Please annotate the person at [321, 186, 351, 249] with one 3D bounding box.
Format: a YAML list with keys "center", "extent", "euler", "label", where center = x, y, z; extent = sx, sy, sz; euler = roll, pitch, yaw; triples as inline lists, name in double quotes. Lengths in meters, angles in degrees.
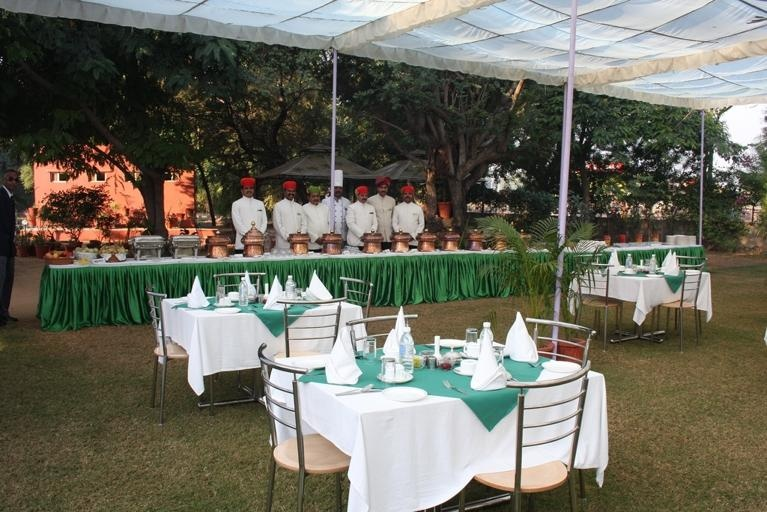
- center: [-0.918, -0.632, 13.787]
  extent: [0.515, 1.807, 0.506]
  euler: [4, -15, -24]
  label: "person"

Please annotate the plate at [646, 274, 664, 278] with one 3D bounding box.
- center: [4.114, 0.303, 9.871]
  extent: [0.250, 0.055, 0.443]
  euler: [-1, 1, 26]
  label: "plate"

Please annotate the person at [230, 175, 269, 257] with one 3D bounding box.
- center: [-2.402, -0.514, 11.964]
  extent: [0.587, 1.840, 0.566]
  euler: [1, -6, -42]
  label: "person"

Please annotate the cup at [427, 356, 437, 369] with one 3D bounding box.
- center: [0.474, 1.019, 6.286]
  extent: [0.078, 0.101, 0.090]
  euler: [-1, 6, -3]
  label: "cup"

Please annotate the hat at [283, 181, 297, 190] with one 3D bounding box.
- center: [-1.741, -1.319, 12.204]
  extent: [0.194, 0.180, 0.353]
  euler: [-1, 1, -2]
  label: "hat"

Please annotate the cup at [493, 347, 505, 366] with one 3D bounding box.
- center: [1.158, 0.985, 6.478]
  extent: [0.098, 0.180, 0.058]
  euler: [2, -5, -20]
  label: "cup"

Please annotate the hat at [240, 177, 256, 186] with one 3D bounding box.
- center: [-2.417, -1.316, 11.688]
  extent: [0.173, 0.161, 0.248]
  euler: [-1, 4, -11]
  label: "hat"

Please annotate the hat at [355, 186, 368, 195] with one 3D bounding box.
- center: [-0.408, -1.323, 13.161]
  extent: [0.173, 0.260, 0.216]
  euler: [-2, -3, -41]
  label: "hat"

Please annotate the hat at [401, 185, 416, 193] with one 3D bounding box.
- center: [0.540, -1.433, 13.922]
  extent: [0.213, 0.218, 0.814]
  euler: [-1, 1, 6]
  label: "hat"
